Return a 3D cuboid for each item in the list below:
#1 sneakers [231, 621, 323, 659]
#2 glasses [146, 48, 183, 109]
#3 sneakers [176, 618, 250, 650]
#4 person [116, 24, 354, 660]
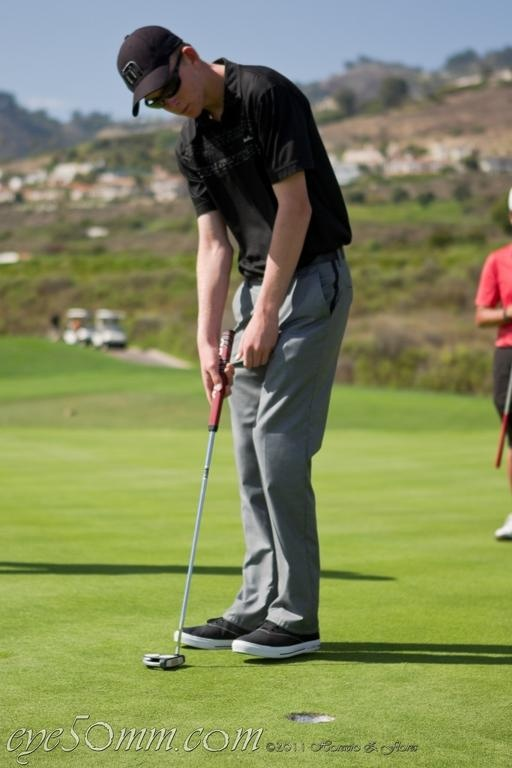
[{"bbox_3d":[0.053,0.654,2.680,0.218,0.069,0.079,4,-10,-24],"label":"sneakers"},{"bbox_3d":[-0.240,-0.745,2.552,0.079,0.102,0.110,8,3,27],"label":"glasses"},{"bbox_3d":[-0.115,0.658,2.768,0.199,0.061,0.067,5,-8,-27],"label":"sneakers"},{"bbox_3d":[-0.067,-0.095,2.762,0.672,1.209,0.628,7,3,4],"label":"person"}]
